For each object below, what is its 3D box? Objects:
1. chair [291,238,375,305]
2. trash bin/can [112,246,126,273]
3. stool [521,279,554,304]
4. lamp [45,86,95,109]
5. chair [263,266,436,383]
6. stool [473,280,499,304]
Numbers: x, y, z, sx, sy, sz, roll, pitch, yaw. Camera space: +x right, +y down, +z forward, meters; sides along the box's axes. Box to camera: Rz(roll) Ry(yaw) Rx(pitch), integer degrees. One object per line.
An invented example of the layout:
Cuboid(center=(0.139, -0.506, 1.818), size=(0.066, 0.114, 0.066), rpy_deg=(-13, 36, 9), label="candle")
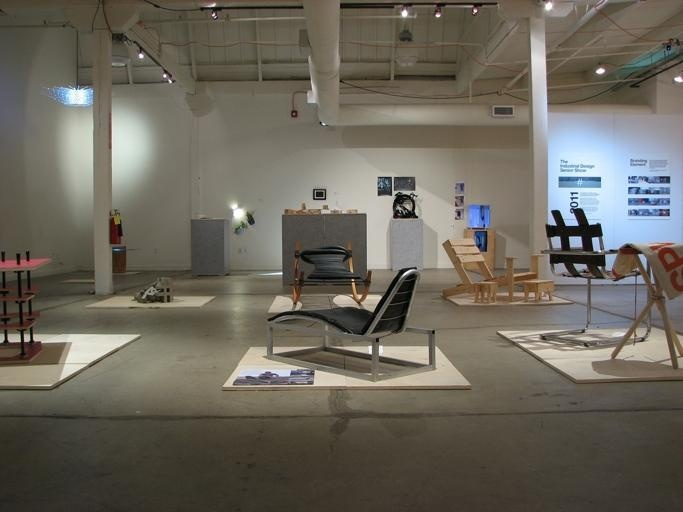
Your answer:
Cuboid(center=(-0.217, 0.308, 7.522), size=(1.056, 0.823, 1.677), rpy_deg=(0, 9, -6), label="chair")
Cuboid(center=(-5.486, 0.060, 12.193), size=(0.285, 0.666, 0.360), rpy_deg=(-2, 3, -28), label="trash bin/can")
Cuboid(center=(2.900, 0.467, 7.293), size=(0.576, 0.368, 0.303), rpy_deg=(-1, 3, -43), label="stool")
Cuboid(center=(-5.392, -3.264, 9.903), size=(0.765, 0.346, 0.443), rpy_deg=(-1, 3, -15), label="lamp")
Cuboid(center=(0.052, 0.514, 4.250), size=(1.317, 0.856, 0.830), rpy_deg=(1, -2, 40), label="chair")
Cuboid(center=(2.143, 0.528, 7.341), size=(0.315, 0.316, 0.328), rpy_deg=(-1, -2, 27), label="stool")
